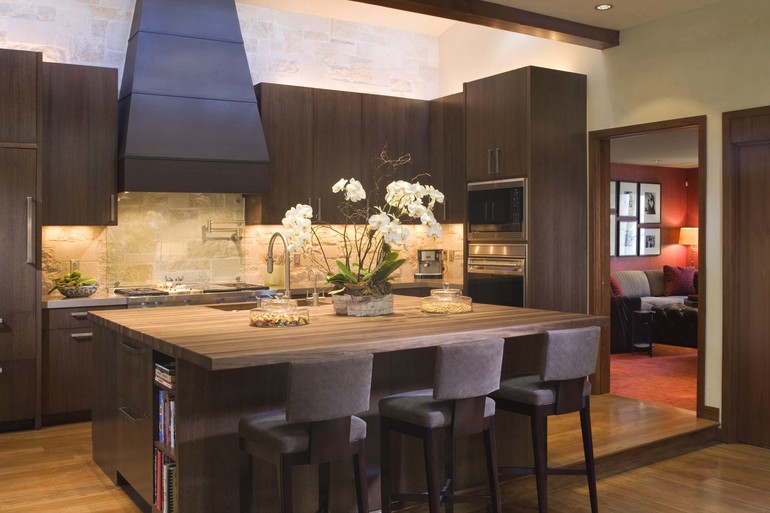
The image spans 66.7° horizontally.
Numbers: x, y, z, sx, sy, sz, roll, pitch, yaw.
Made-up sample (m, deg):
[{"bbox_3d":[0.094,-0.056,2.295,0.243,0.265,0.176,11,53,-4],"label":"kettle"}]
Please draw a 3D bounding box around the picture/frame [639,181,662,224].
[{"bbox_3d":[5.163,-1.033,11.410,0.605,0.776,0.020,-4,6,-27],"label":"picture/frame"}]

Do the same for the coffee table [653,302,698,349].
[{"bbox_3d":[4.573,1.099,9.174,0.704,0.843,0.901,4,5,21],"label":"coffee table"}]

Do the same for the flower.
[{"bbox_3d":[-0.102,-0.114,4.398,0.850,0.997,1.068,-7,-7,10],"label":"flower"}]

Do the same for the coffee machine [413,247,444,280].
[{"bbox_3d":[0.542,0.091,7.528,0.374,0.344,0.368,0,-3,-2],"label":"coffee machine"}]

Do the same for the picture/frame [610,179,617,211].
[{"bbox_3d":[4.262,-1.139,10.898,0.074,0.550,0.213,1,4,34],"label":"picture/frame"}]

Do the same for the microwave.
[{"bbox_3d":[1.121,-0.482,6.368,0.769,0.620,0.273,-3,6,-25],"label":"microwave"}]

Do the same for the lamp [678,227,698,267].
[{"bbox_3d":[6.060,-0.181,11.701,0.325,0.778,0.477,0,4,23],"label":"lamp"}]

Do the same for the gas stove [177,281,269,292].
[{"bbox_3d":[-1.756,0.342,6.514,0.818,0.063,0.698,-3,3,-27],"label":"gas stove"}]

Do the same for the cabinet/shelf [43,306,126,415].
[{"bbox_3d":[-3.019,1.041,5.978,0.839,1.120,0.825,0,-8,-4],"label":"cabinet/shelf"}]

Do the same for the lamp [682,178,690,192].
[{"bbox_3d":[6.176,-1.459,11.982,0.105,0.216,0.056,-1,4,11],"label":"lamp"}]

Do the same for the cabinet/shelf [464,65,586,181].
[{"bbox_3d":[1.578,-1.413,6.577,0.955,1.103,1.210,-6,11,-22],"label":"cabinet/shelf"}]

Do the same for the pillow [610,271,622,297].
[{"bbox_3d":[3.633,0.444,9.211,0.139,0.389,0.366,1,-6,-1],"label":"pillow"}]

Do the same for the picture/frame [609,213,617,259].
[{"bbox_3d":[4.258,-0.402,10.877,0.134,0.782,0.052,-4,4,-28],"label":"picture/frame"}]

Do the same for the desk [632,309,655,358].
[{"bbox_3d":[3.803,1.141,8.665,0.364,0.593,0.289,1,1,-21],"label":"desk"}]

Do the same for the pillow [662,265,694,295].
[{"bbox_3d":[5.347,0.465,10.685,0.496,0.433,0.172,6,-16,-7],"label":"pillow"}]

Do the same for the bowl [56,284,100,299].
[{"bbox_3d":[-3.051,0.341,5.789,0.355,0.124,0.168,-1,3,-4],"label":"bowl"}]

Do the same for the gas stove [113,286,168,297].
[{"bbox_3d":[-2.550,0.365,6.054,0.466,0.057,0.695,-3,3,-32],"label":"gas stove"}]
